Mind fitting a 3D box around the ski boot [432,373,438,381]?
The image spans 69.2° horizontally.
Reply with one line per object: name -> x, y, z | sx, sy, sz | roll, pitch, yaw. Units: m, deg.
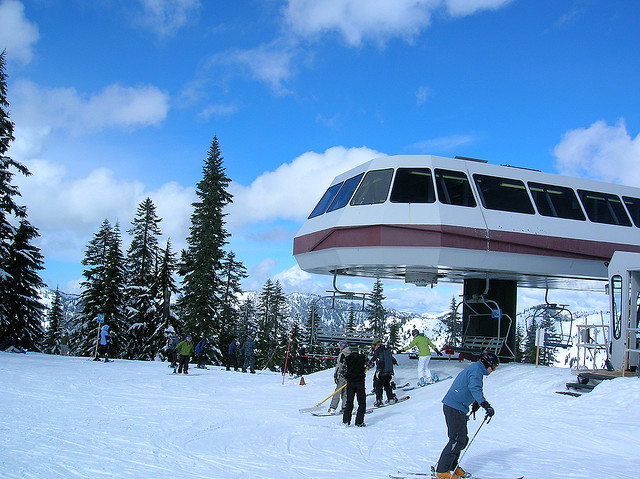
ski boot -> 4.111, 4.912, 16.556 | 0.193, 0.267, 0.098 | -2, -7, 11

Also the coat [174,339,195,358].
coat -> -6.201, 4.990, 21.476 | 0.729, 0.634, 1.536 | 5, -13, -16

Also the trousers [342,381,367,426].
trousers -> 0.893, 4.292, 12.188 | 0.540, 1.117, 0.582 | 1, -13, 0

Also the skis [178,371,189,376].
skis -> -6.276, 6.118, 21.187 | 0.241, 0.226, 0.061 | -5, -12, 6

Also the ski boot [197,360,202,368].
ski boot -> -6.557, 6.836, 25.510 | 0.214, 0.395, 0.467 | 4, -13, -14

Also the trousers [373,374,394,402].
trousers -> 2.031, 4.691, 14.688 | 0.609, 0.831, 0.547 | 0, -13, 3

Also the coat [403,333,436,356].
coat -> 3.317, 3.499, 15.420 | 0.785, 0.736, 0.984 | -6, -15, 30

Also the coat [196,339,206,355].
coat -> -6.403, 5.829, 24.956 | 0.397, 0.736, 0.994 | 4, -13, -14

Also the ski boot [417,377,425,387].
ski boot -> 3.480, 4.889, 15.991 | 0.222, 0.291, 0.168 | -3, -13, 18

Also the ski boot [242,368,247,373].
ski boot -> -4.004, 7.013, 25.002 | 0.336, 0.311, 0.176 | 3, -13, -19

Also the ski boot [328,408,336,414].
ski boot -> 0.361, 5.062, 13.684 | 0.129, 0.173, 0.176 | 8, -9, -37

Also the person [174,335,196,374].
person -> -6.181, 5.268, 21.278 | 0.713, 1.722, 1.362 | 5, -13, -16

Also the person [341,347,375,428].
person -> 0.978, 3.924, 12.427 | 0.739, 2.011, 1.029 | 0, -13, 5

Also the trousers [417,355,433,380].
trousers -> 3.606, 4.408, 16.014 | 0.376, 0.818, 0.904 | -2, -13, 14

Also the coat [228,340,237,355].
coat -> -4.537, 5.699, 24.489 | 0.401, 0.677, 1.149 | 4, -13, -11

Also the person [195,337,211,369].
person -> -6.602, 6.382, 25.857 | 0.639, 1.500, 3.028 | 4, -13, -14

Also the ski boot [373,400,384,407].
ski boot -> 1.854, 5.132, 14.549 | 0.294, 0.190, 0.378 | -1, -13, 7

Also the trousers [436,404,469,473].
trousers -> 2.403, 3.640, 8.494 | 0.574, 1.180, 0.290 | -3, -13, 16

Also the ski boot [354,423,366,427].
ski boot -> 1.052, 4.858, 12.159 | 0.277, 0.118, 0.094 | -4, -3, 10

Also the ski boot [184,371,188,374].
ski boot -> -6.044, 6.069, 21.137 | 0.177, 0.114, 0.145 | -11, -17, 43

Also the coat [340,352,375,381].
coat -> 0.964, 3.357, 12.491 | 1.016, 0.957, 0.757 | 1, -7, -7

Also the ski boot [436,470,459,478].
ski boot -> 2.346, 4.296, 8.472 | 0.474, 0.159, 0.140 | 8, -15, -30

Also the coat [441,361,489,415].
coat -> 2.658, 2.713, 8.490 | 0.760, 0.940, 0.426 | -4, -14, 20
